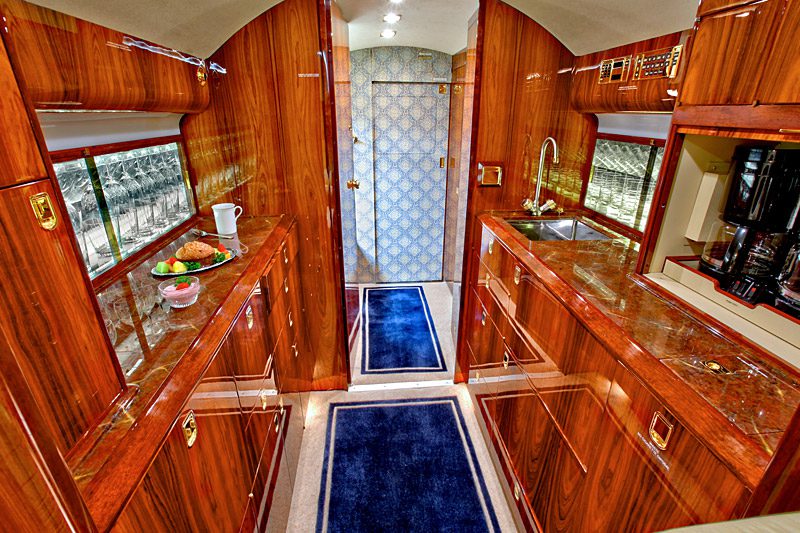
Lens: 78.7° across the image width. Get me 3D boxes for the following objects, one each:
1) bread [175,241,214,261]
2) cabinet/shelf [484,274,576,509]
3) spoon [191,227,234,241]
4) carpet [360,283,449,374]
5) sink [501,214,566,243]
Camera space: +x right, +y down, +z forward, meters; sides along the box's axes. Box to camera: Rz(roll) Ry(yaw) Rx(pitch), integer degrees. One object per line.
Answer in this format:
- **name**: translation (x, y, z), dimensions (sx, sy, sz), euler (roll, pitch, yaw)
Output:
- **bread**: translation (-0.908, -0.090, 2.144), dimensions (0.106, 0.107, 0.036), euler (11, -71, 36)
- **cabinet/shelf**: translation (0.614, 0.589, 2.267), dimensions (0.296, 0.914, 0.809), euler (-6, -65, -4)
- **spoon**: translation (-0.962, -0.170, 2.520), dimensions (0.178, 0.037, 0.027), euler (12, -65, 4)
- **carpet**: translation (-0.001, 0.536, 3.887), dimensions (0.431, 1.044, 0.020), euler (1, -63, 0)
- **sink**: translation (0.809, -0.230, 2.905), dimensions (0.201, 0.192, 0.128), euler (1, -68, 3)
